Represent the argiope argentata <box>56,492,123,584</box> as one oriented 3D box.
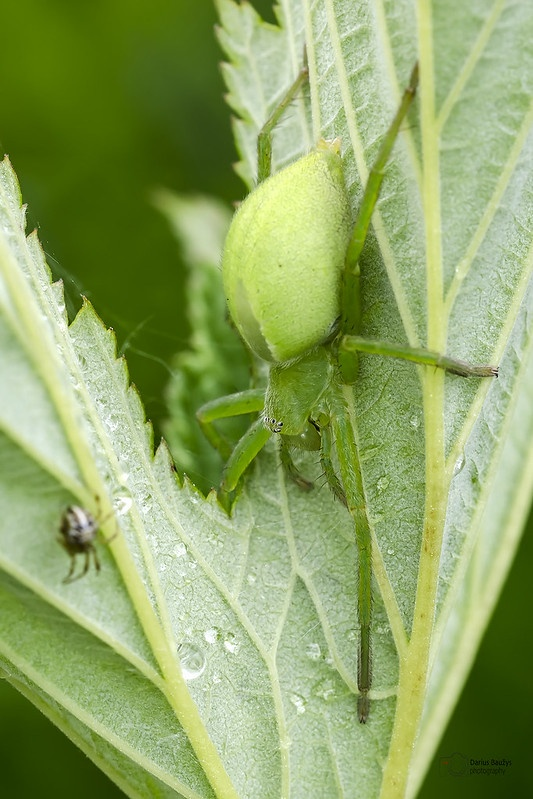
[{"bbox_3d":[-0.154,0.116,0.657,0.058,0.060,0.067,0,21,8],"label":"argiope argentata"}]
